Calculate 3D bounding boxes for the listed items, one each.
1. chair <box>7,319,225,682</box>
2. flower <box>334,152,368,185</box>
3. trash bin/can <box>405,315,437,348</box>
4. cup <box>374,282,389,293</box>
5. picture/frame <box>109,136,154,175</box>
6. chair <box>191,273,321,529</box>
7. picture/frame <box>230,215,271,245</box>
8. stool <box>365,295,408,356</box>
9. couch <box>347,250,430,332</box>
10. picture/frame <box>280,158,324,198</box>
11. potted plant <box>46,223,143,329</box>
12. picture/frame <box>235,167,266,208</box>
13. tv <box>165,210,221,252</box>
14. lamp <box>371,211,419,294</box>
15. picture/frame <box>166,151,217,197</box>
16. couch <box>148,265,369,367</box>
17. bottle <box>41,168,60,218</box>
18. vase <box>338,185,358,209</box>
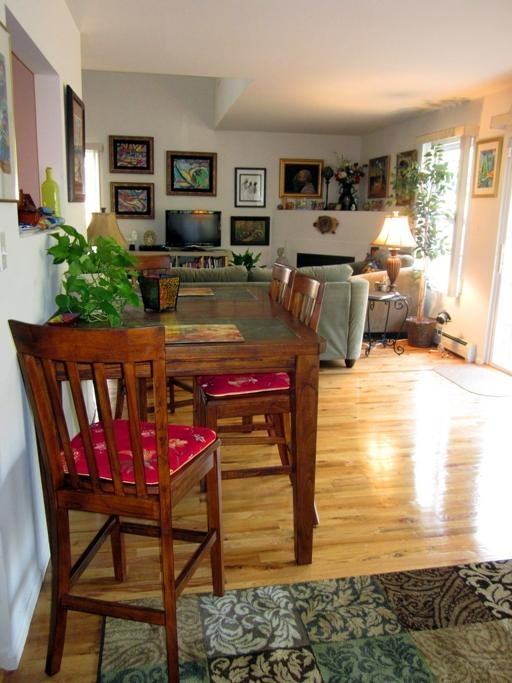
[{"bbox_3d":[-0.325,0.377,1.306,0.404,0.915,0.485,3,12,7],"label":"chair"},{"bbox_3d":[1.375,-2.532,7.483,0.461,0.453,0.570,3,11,7],"label":"flower"},{"bbox_3d":[1.633,-0.101,5.105,0.307,0.233,0.311,-1,3,-8],"label":"trash bin/can"},{"bbox_3d":[1.242,-0.541,5.068,0.117,0.087,0.114,1,20,-1],"label":"cup"},{"bbox_3d":[-1.771,-2.632,7.183,0.564,0.454,0.042,-2,13,-13],"label":"picture/frame"},{"bbox_3d":[-0.036,0.094,2.209,0.587,0.735,0.552,0,-6,23],"label":"chair"},{"bbox_3d":[-0.103,-1.699,7.722,0.486,0.366,0.040,-1,17,-7],"label":"picture/frame"},{"bbox_3d":[1.279,-0.189,5.276,0.541,0.557,0.537,-3,9,-36],"label":"stool"},{"bbox_3d":[1.421,-0.671,5.723,0.852,1.145,1.082,1,10,3],"label":"couch"},{"bbox_3d":[0.656,-2.462,7.665,0.615,0.500,0.041,-1,15,-6],"label":"picture/frame"},{"bbox_3d":[-0.510,-0.278,1.731,0.284,0.180,0.258,13,14,28],"label":"potted plant"},{"bbox_3d":[-0.101,-2.314,7.596,0.608,0.673,0.048,-1,10,-12],"label":"picture/frame"},{"bbox_3d":[-0.952,-1.622,7.446,0.674,0.447,0.167,-1,21,-9],"label":"tv"},{"bbox_3d":[1.385,-0.924,5.188,0.413,0.795,0.769,4,12,13],"label":"lamp"},{"bbox_3d":[-0.961,-2.441,7.390,0.700,0.550,0.057,0,11,-12],"label":"picture/frame"},{"bbox_3d":[0.034,-0.219,3.962,1.700,0.703,0.674,-1,-3,-39],"label":"couch"},{"bbox_3d":[-0.874,-0.633,2.176,0.071,0.200,0.225,-3,12,-21],"label":"bottle"},{"bbox_3d":[1.335,-2.072,7.461,0.273,0.368,0.551,3,11,8],"label":"vase"}]
